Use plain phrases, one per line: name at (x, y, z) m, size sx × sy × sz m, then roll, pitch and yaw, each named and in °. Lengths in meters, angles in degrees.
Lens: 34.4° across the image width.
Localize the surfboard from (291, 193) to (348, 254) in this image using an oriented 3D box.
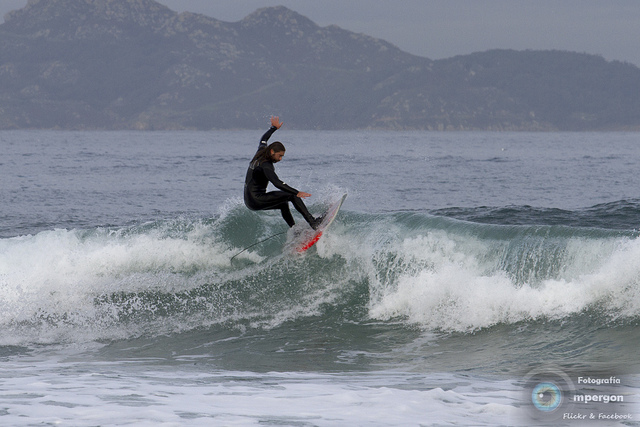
surfboard at (-0.026, 0.509, 41.471) m, size 0.416 × 2.854 × 0.646 m, roll 49°, pitch -21°, yaw -29°
